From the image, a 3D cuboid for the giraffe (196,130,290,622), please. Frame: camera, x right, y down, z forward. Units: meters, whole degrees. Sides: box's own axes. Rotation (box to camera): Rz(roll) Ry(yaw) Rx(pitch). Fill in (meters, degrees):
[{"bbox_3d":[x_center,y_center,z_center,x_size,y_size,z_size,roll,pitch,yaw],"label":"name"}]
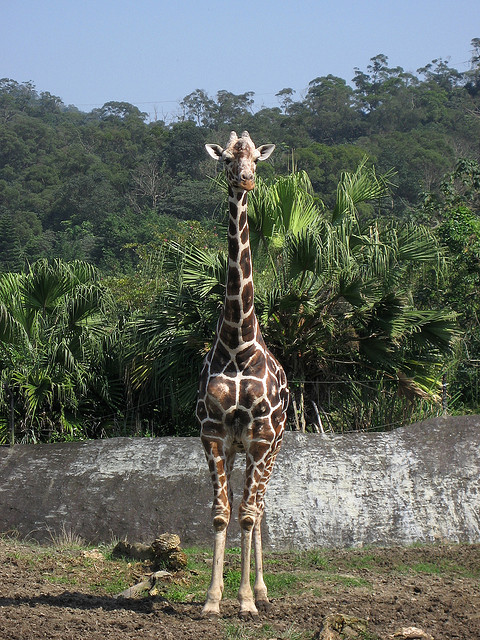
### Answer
[{"bbox_3d":[-0.023,0.299,5.042,0.603,3.611,1.064,0,-9,13],"label":"giraffe"}]
